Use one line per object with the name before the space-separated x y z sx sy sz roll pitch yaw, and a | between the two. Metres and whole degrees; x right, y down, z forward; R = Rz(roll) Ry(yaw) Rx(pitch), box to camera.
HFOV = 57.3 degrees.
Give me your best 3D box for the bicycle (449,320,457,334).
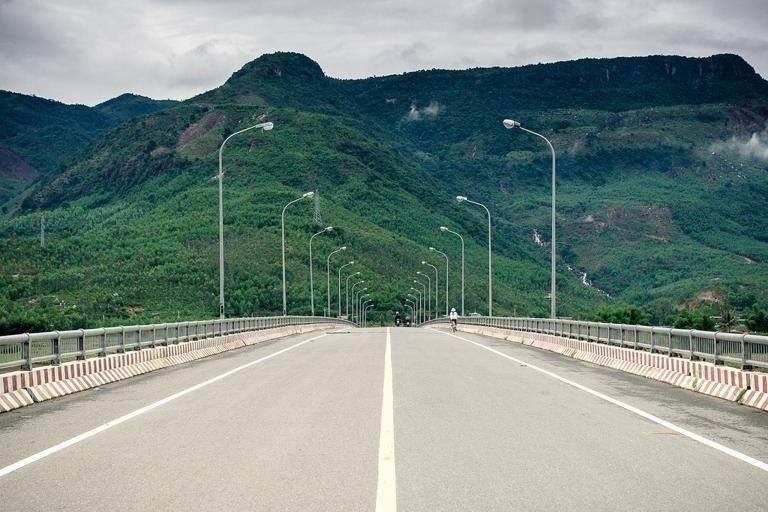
bicycle | 5.561 5.486 55.233 0.724 0.926 1.492 1 1 3
